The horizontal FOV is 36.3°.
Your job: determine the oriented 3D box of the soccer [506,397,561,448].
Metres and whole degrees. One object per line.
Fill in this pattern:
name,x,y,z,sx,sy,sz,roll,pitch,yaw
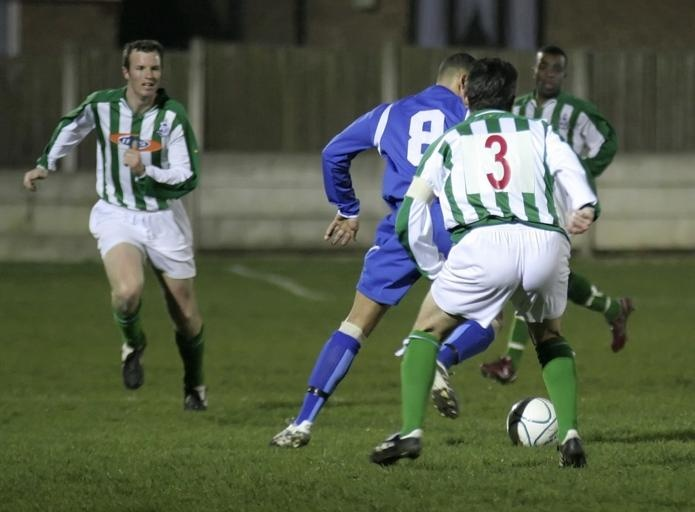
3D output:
soccer,1.181,1.051,6.866,0.291,0.308,0.284,6,-4,-12

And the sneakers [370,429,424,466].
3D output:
sneakers,0.284,1.139,6.307,0.324,0.165,0.146,-23,35,16

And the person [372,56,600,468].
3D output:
person,0.816,0.024,6.351,1.216,2.374,0.563,0,8,0

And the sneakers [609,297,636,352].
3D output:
sneakers,2.033,0.513,7.943,0.149,0.219,0.436,-6,25,28

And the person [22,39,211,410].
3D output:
person,-1.486,-0.194,7.280,0.979,2.538,0.690,0,8,-1

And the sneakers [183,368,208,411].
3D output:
sneakers,-1.065,0.935,7.397,0.105,0.304,0.105,0,3,-11

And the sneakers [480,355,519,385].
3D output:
sneakers,1.186,0.875,8.266,0.309,0.224,0.165,18,-14,9

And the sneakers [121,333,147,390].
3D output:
sneakers,-1.505,0.737,7.397,0.128,0.417,0.166,-5,18,-17

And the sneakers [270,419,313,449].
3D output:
sneakers,-0.356,1.116,6.640,0.246,0.213,0.191,-1,8,-6
